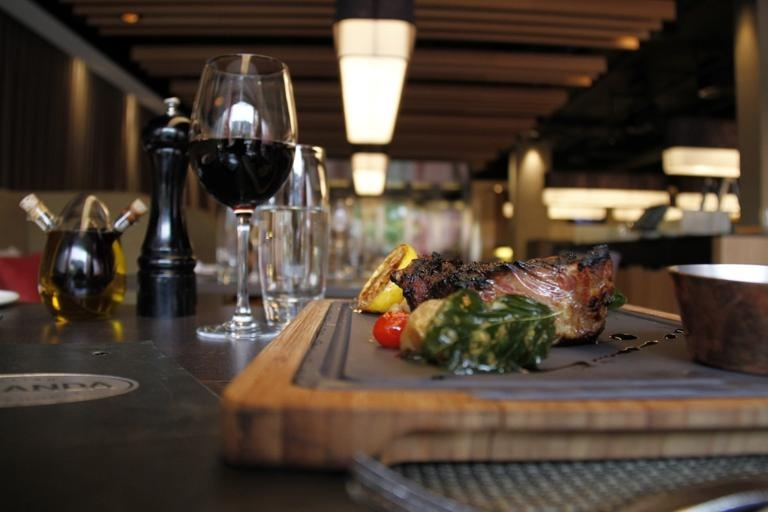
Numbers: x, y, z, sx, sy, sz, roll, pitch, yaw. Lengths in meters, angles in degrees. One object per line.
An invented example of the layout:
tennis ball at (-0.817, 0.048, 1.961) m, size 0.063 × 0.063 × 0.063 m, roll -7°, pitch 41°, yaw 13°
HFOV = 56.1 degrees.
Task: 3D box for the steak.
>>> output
steak at (0.284, 0.098, 1.727) m, size 0.516 × 0.201 × 0.386 m, roll 1°, pitch -6°, yaw 22°

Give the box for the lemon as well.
lemon at (0.000, 0.063, 1.806) m, size 0.098 × 0.161 × 0.161 m, roll 46°, pitch -17°, yaw -8°

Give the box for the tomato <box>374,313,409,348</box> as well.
tomato at (0.015, 0.159, 1.539) m, size 0.072 × 0.071 × 0.071 m, roll -1°, pitch -1°, yaw -2°
